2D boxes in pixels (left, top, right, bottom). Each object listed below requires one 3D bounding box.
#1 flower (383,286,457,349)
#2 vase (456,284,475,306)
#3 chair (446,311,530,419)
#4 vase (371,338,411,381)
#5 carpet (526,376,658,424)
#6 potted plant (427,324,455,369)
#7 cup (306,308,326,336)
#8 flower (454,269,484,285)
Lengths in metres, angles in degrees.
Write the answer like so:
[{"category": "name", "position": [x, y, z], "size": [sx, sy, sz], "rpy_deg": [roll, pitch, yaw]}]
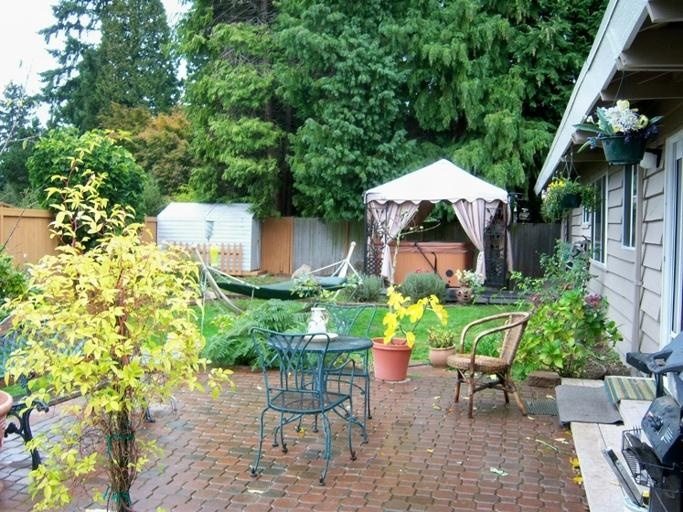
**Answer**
[{"category": "flower", "position": [1.092, 0.864, 8.158], "size": [0.777, 0.914, 0.616], "rpy_deg": [0, 2, -31]}, {"category": "vase", "position": [2.514, 0.769, 11.913], "size": [0.296, 0.435, 0.323], "rpy_deg": [-1, 4, 0]}, {"category": "chair", "position": [1.470, 1.056, 5.855], "size": [0.729, 1.054, 0.813], "rpy_deg": [2, -1, -22]}, {"category": "vase", "position": [0.567, 1.155, 6.736], "size": [0.487, 0.453, 0.548], "rpy_deg": [0, -2, 3]}, {"category": "carpet", "position": [2.392, 1.344, 5.412], "size": [0.614, 0.161, 0.743], "rpy_deg": [-2, 1, 11]}, {"category": "potted plant", "position": [1.237, 1.193, 7.356], "size": [0.282, 0.466, 0.319], "rpy_deg": [1, -8, -10]}, {"category": "cup", "position": [-0.213, 0.572, 5.062], "size": [0.188, 0.312, 0.178], "rpy_deg": [1, -6, 0]}, {"category": "flower", "position": [2.586, 0.443, 11.928], "size": [0.408, 0.297, 0.404], "rpy_deg": [-1, 7, -42]}]
